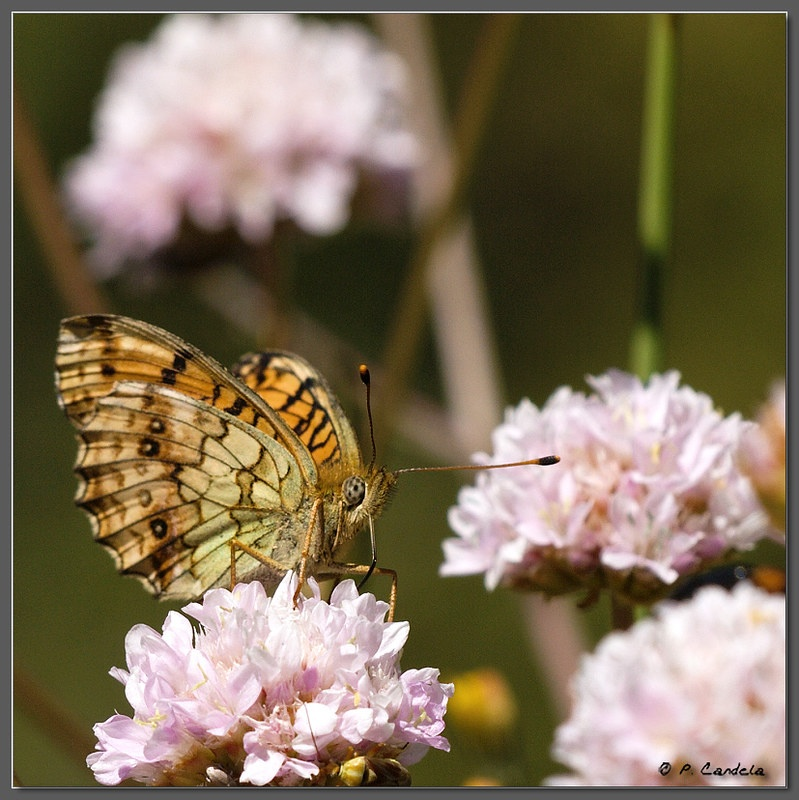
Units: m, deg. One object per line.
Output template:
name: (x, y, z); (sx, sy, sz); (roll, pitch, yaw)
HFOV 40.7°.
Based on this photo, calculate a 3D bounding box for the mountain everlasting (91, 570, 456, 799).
mountain everlasting: (-0.150, 0.275, 1.234); (0.283, 0.279, 0.178); (0, -82, -1)

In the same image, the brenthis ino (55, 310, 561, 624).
brenthis ino: (-0.171, 0.031, 1.540); (0.499, 0.481, 0.337); (1, -98, 18)

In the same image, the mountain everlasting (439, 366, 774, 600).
mountain everlasting: (0.237, 0.119, 1.341); (0.300, 0.295, 0.217); (-28, -96, 51)

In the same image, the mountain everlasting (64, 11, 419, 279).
mountain everlasting: (-0.267, -0.389, 1.830); (0.440, 0.443, 0.203); (-25, -40, -12)
